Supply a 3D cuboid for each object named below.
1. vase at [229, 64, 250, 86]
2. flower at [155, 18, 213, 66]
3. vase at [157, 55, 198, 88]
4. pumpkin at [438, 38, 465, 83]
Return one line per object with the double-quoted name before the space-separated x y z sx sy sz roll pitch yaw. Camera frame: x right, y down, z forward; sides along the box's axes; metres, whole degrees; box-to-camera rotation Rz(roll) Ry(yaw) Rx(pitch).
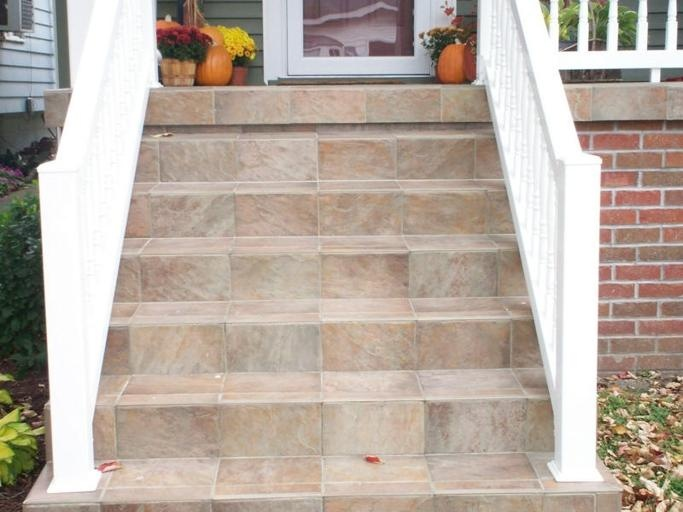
"vase" -0.855 -1.526 7.288 0.185 0.184 0.134 0 106 -1
"flower" -1.153 -1.544 6.311 0.314 0.307 0.243 2 97 -5
"vase" -1.189 -1.357 6.404 0.224 0.231 0.140 3 97 11
"pumpkin" 0.794 -1.441 6.495 0.260 0.266 0.357 0 107 -2
